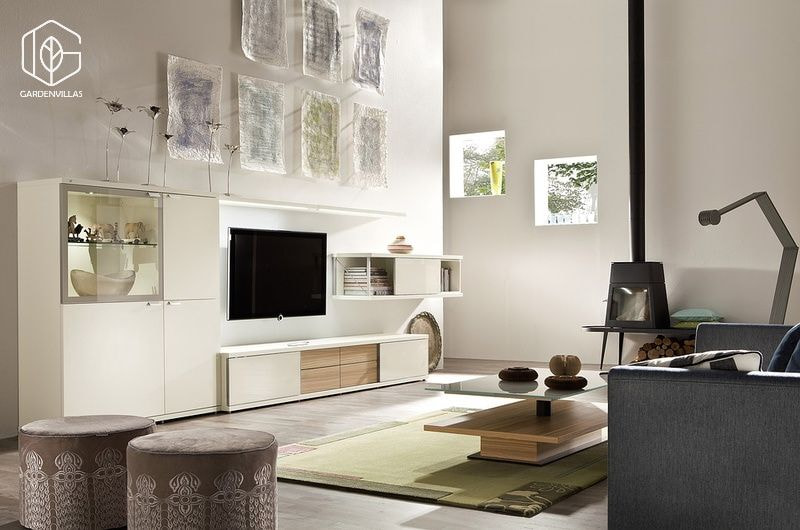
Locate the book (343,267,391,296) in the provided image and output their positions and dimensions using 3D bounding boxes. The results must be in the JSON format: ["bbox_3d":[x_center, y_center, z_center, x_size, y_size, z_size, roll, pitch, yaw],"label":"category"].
[{"bbox_3d":[-0.410,0.161,7.078,0.414,0.248,0.414,1,0,28],"label":"book"}]

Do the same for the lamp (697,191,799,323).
[{"bbox_3d":[4.164,-0.097,6.849,0.850,1.539,0.411,0,-1,19],"label":"lamp"}]

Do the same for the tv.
[{"bbox_3d":[-1.379,0.086,6.342,1.162,0.800,0.119,-1,3,-45],"label":"tv"}]
